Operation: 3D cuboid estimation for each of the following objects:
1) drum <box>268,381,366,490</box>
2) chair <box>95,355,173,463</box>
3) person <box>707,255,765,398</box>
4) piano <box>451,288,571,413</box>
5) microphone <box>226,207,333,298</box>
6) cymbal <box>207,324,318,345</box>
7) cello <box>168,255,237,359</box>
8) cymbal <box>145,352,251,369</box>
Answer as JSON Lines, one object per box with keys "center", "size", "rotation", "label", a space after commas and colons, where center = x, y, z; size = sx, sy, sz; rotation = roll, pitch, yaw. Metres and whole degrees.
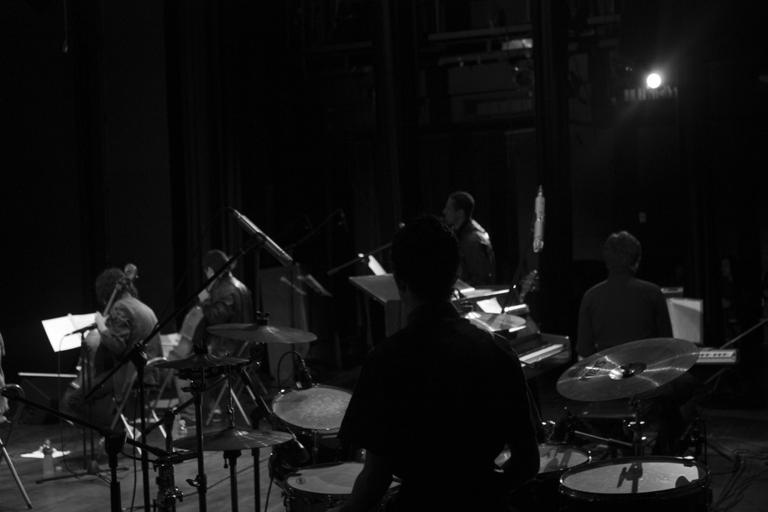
{"center": [-0.625, 1.578, 8.131], "size": [0.980, 0.860, 0.947], "rotation": [-2, 5, -4], "label": "drum"}
{"center": [-2.365, 1.202, 8.088], "size": [0.558, 0.923, 0.526], "rotation": [-1, 32, -25], "label": "chair"}
{"center": [4.242, 0.877, 10.277], "size": [0.528, 1.733, 0.273], "rotation": [-1, 5, 17], "label": "person"}
{"center": [1.199, 0.937, 8.781], "size": [1.039, 0.969, 1.171], "rotation": [11, 5, 30], "label": "piano"}
{"center": [-1.380, -0.021, 11.909], "size": [1.740, 0.241, 0.238], "rotation": [42, 31, 14], "label": "microphone"}
{"center": [-1.329, 0.834, 9.077], "size": [0.564, 0.121, 0.551], "rotation": [7, 3, 4], "label": "cymbal"}
{"center": [-2.155, 0.679, 10.866], "size": [0.983, 1.423, 0.886], "rotation": [6, 0, -15], "label": "cello"}
{"center": [-1.776, 1.017, 8.346], "size": [0.562, 0.128, 0.552], "rotation": [-1, 1, 12], "label": "cymbal"}
